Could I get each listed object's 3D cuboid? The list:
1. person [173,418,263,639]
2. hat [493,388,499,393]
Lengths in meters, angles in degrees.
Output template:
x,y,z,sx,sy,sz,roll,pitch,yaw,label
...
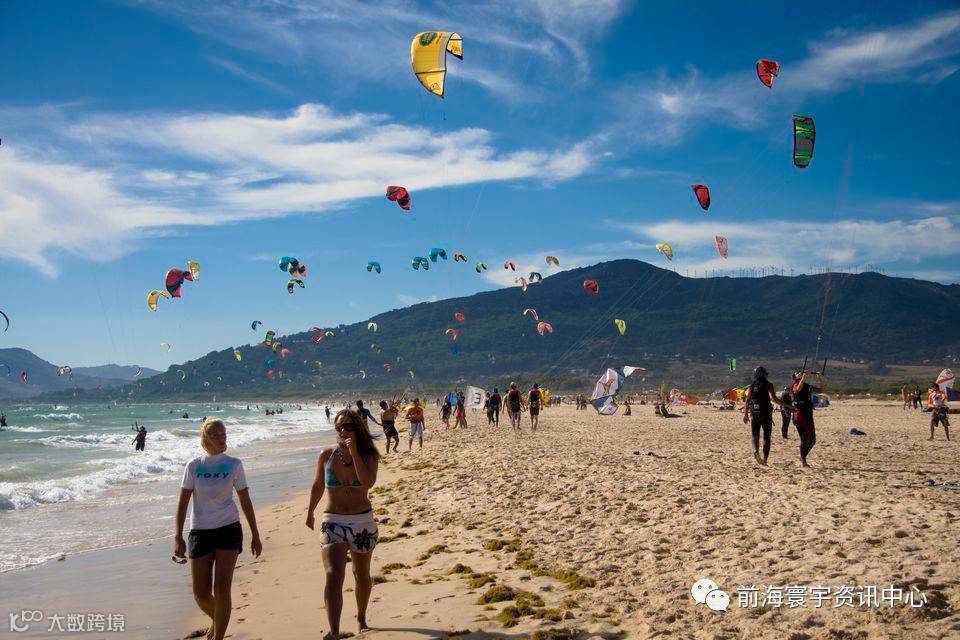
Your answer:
x,y,z,sx,sy,sz,roll,pitch,yaw,label
-2.731,2.165,7.107,0.802,2.253,0.496,-12,9,-24,person
0.545,2.505,24.852,0.185,0.182,0.183,0,-8,4,hat
